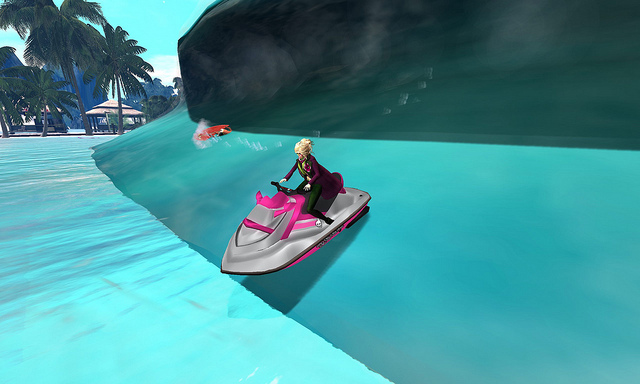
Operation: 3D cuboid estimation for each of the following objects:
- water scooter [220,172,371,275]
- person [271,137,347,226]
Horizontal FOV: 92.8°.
[{"bbox_3d":[-0.430,0.413,5.277,2.809,0.964,1.466,-28,35,-35],"label":"water scooter"},{"bbox_3d":[-0.131,-0.159,5.129,0.736,1.337,1.136,16,23,40],"label":"person"}]
